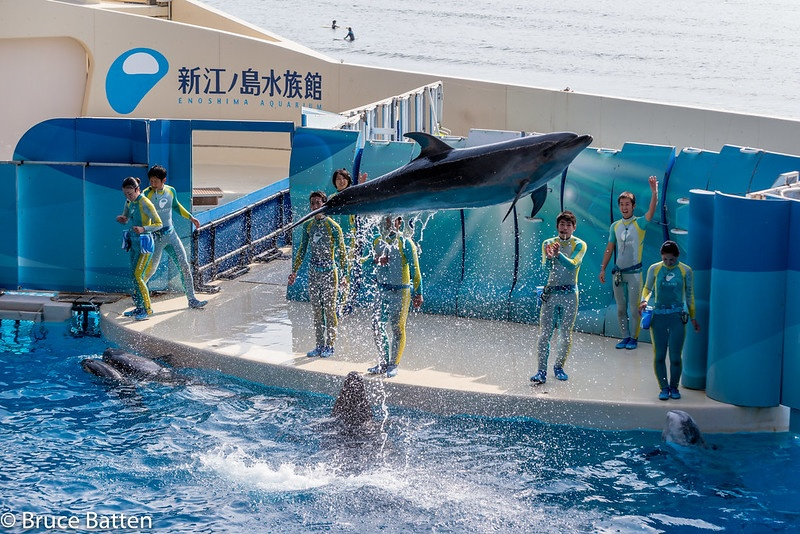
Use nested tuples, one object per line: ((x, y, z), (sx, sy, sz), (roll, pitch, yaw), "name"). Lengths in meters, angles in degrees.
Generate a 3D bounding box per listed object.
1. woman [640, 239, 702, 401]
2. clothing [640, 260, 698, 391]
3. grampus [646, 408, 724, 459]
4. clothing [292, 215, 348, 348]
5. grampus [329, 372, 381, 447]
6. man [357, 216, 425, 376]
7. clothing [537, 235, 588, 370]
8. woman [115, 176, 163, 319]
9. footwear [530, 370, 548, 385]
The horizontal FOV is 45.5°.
((3.245, 0.628, 11.402), (0.682, 1.881, 0.388), (3, 4, 19), "woman")
((3.255, 0.620, 11.345), (0.598, 1.850, 0.529), (1, 4, 19), "clothing")
((3.243, 1.925, 10.884), (0.852, 0.492, 0.293), (2, 4, -9), "grampus")
((-1.027, 0.106, 12.513), (0.703, 2.176, 0.509), (-2, 11, 0), "clothing")
((-0.519, 1.652, 11.133), (0.564, 0.779, 0.566), (2, 4, -5), "grampus")
((-0.062, 0.329, 12.214), (0.643, 2.019, 1.236), (2, 4, -2), "man")
((1.995, 0.448, 11.748), (0.541, 1.663, 0.323), (2, 4, -4), "clothing")
((-3.719, -0.273, 13.541), (0.618, 2.014, 0.393), (3, 4, 11), "woman")
((1.739, 1.363, 11.761), (0.218, 0.245, 0.114), (10, 2, 12), "footwear")
